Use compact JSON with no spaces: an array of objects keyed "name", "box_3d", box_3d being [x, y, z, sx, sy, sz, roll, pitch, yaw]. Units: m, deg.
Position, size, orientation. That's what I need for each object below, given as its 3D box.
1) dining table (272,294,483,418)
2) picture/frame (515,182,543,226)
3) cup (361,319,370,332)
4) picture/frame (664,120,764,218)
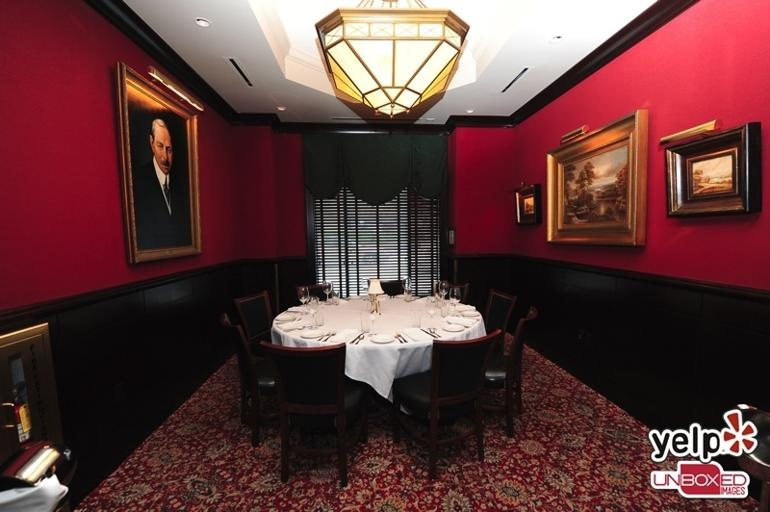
[{"name":"dining table","box_3d":[-0.191,0.810,5.154,1.358,0.444,1.394,2,6,25]},{"name":"picture/frame","box_3d":[2.066,-0.739,7.002,0.141,0.581,0.628,-1,2,-11]},{"name":"cup","box_3d":[-0.194,0.714,5.031,0.092,0.136,0.077,-4,7,-12]},{"name":"picture/frame","box_3d":[3.131,-0.817,4.609,0.122,0.982,0.931,-4,4,-27]}]
